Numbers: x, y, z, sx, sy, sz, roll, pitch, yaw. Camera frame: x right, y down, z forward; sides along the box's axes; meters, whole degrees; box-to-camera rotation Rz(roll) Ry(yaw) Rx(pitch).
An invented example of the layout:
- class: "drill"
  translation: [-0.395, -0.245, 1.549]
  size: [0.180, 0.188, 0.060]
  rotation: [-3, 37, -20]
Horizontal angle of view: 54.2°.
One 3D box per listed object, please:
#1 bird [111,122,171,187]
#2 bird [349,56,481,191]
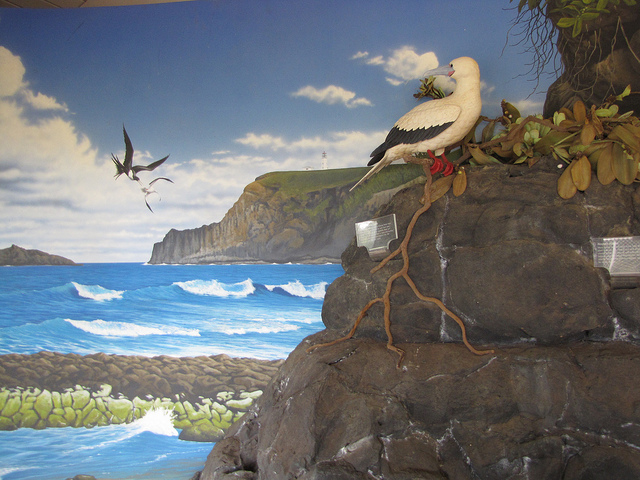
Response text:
- class: "bird"
  translation: [-3.736, -1.576, 12.343]
  size: [1.093, 1.472, 0.454]
  rotation: [13, 33, 26]
- class: "bird"
  translation: [1.219, -1.428, 7.589]
  size: [1.612, 1.330, 0.666]
  rotation: [-3, 15, 24]
